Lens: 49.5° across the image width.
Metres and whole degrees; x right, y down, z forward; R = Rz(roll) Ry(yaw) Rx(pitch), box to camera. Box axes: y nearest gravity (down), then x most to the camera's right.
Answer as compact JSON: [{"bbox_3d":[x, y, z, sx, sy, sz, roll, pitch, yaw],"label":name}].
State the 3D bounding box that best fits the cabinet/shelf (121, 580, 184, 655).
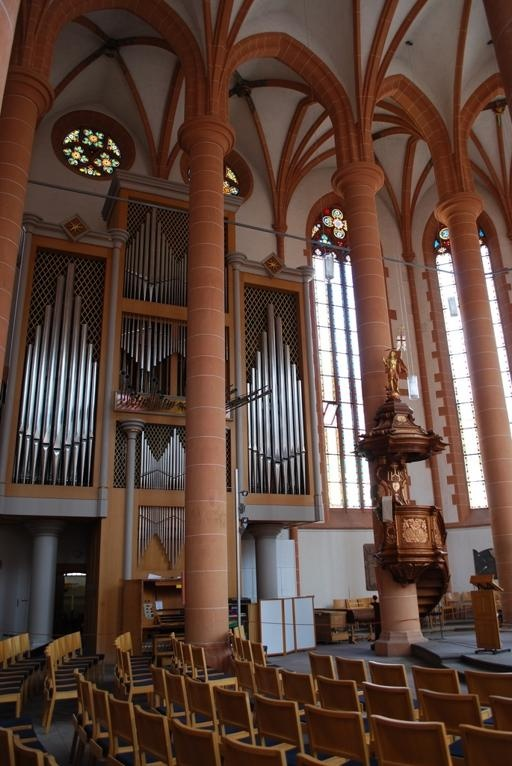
[{"bbox_3d":[-1.621,4.093,9.642,0.648,1.133,1.201,-22,-29,34],"label":"cabinet/shelf"}]
